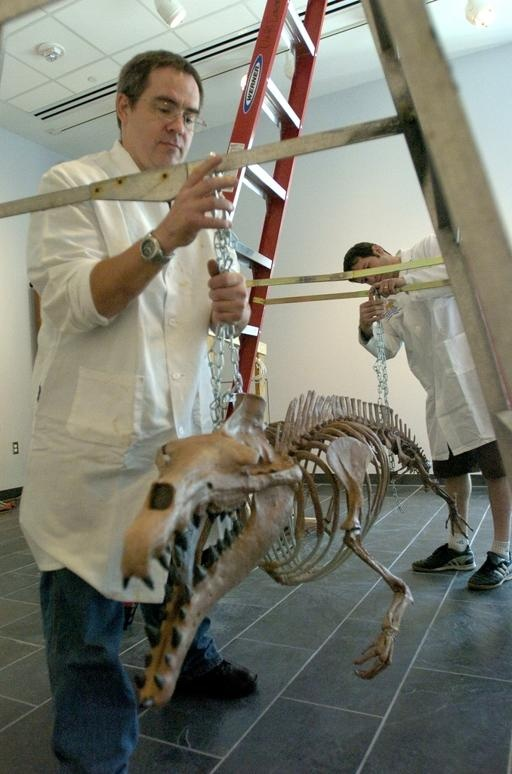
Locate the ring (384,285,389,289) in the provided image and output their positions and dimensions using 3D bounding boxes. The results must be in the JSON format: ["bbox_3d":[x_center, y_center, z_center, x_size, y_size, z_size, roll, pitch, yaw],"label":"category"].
[{"bbox_3d":[0.501,-0.375,2.093,0.006,0.014,0.026,-4,-1,-11],"label":"ring"}]

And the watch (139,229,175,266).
[{"bbox_3d":[-0.174,-0.223,0.917,0.060,0.037,0.059,-8,47,-50],"label":"watch"}]

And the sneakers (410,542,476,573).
[{"bbox_3d":[0.924,0.851,2.733,0.355,0.142,0.120,-1,-14,0],"label":"sneakers"}]

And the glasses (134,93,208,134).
[{"bbox_3d":[-0.228,-0.642,1.271,0.100,0.028,0.100,6,7,-43],"label":"glasses"}]
